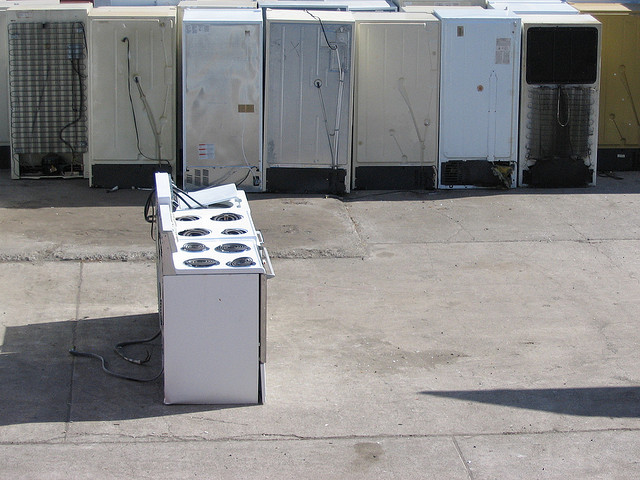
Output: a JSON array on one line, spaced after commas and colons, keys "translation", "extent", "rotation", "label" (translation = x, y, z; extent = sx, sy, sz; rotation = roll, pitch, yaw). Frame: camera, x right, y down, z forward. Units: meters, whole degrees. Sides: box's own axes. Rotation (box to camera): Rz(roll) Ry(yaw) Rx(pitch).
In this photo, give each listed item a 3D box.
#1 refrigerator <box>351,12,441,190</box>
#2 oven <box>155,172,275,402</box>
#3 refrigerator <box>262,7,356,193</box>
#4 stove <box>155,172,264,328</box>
[{"translation": [1.376, -2.477, 11.723], "extent": [1.988, 2.884, 1.962], "rotation": [14, 28, 30], "label": "refrigerator"}, {"translation": [-0.877, 0.338, 5.530], "extent": [0.869, 1.678, 1.277], "rotation": [-3, 11, -11], "label": "oven"}, {"translation": [-0.229, -2.411, 11.008], "extent": [1.409, 2.878, 1.342], "rotation": [-2, 20, -8], "label": "refrigerator"}, {"translation": [-0.969, 0.120, 5.941], "extent": [0.886, 1.361, 2.165], "rotation": [-2, 10, -12], "label": "stove"}]
